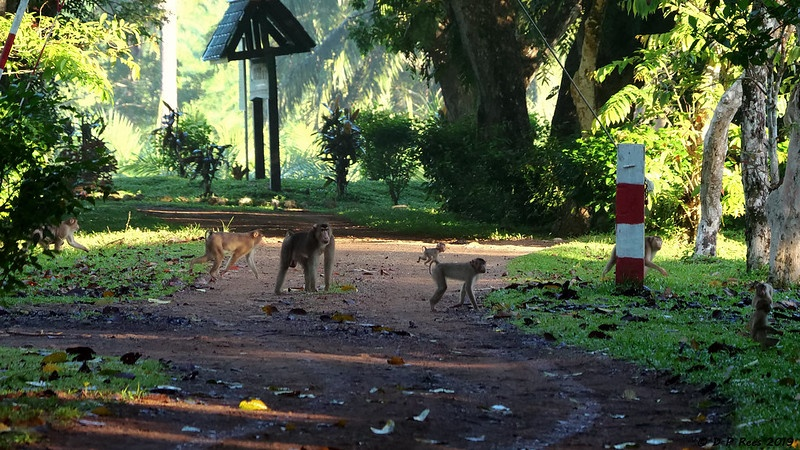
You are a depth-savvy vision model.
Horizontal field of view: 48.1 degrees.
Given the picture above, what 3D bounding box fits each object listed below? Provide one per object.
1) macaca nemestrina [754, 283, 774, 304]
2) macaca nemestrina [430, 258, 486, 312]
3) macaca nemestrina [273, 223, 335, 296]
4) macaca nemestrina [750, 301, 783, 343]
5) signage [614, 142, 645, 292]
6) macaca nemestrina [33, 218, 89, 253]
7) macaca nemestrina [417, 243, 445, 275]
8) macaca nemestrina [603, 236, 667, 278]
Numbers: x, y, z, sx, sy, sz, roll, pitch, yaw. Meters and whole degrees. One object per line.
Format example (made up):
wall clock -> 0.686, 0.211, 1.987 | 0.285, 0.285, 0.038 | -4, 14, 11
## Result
macaca nemestrina -> 5.991, 1.135, 14.777 | 0.267, 0.343, 0.384 | 2, -1, 20
macaca nemestrina -> 1.144, 1.198, 17.780 | 1.356, 0.957, 0.373 | -2, -10, -19
macaca nemestrina -> -1.971, 0.706, 18.555 | 1.161, 1.033, 0.785 | 2, -1, 3
macaca nemestrina -> 5.999, 1.607, 14.727 | 0.453, 0.705, 0.428 | 2, -1, 4
signage -> 4.549, -0.142, 17.766 | 0.556, 2.877, 0.329 | 2, -2, 12
macaca nemestrina -> -8.109, 0.184, 21.220 | 1.293, 0.646, 0.281 | -7, 18, 9
macaca nemestrina -> 0.784, 0.711, 21.745 | 0.830, 0.478, 0.275 | -5, -11, 41
macaca nemestrina -> 5.151, 0.747, 19.512 | 0.487, 0.900, 1.488 | 10, -10, -43
